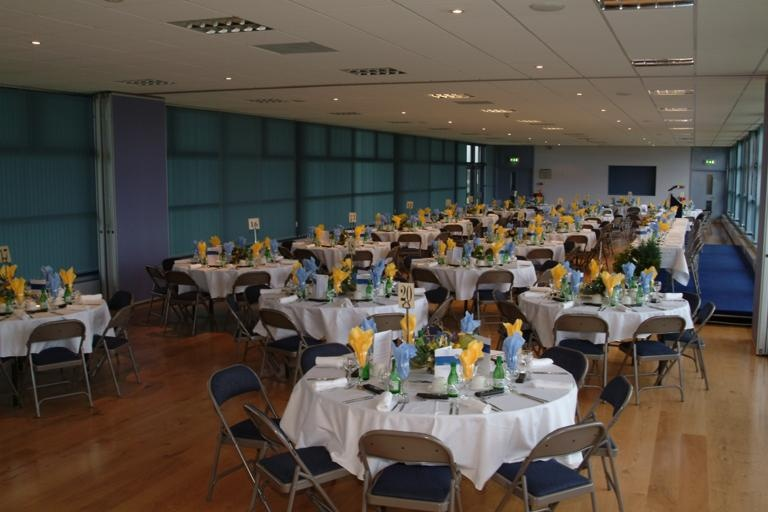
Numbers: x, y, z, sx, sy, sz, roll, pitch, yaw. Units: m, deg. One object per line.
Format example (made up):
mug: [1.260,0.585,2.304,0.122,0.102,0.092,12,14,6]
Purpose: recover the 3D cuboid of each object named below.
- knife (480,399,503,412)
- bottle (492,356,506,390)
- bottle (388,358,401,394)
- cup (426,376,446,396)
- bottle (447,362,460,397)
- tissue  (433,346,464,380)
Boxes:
knife: [0.879,1.207,4.077,0.050,0.021,0.196,-40,9,-11]
bottle: [1.031,1.005,4.485,0.111,0.254,0.356,-1,5,13]
bottle: [0.087,1.019,4.347,0.106,0.273,0.259,-3,6,2]
cup: [0.447,1.100,4.270,0.141,0.076,0.143,1,5,0]
bottle: [0.574,1.029,4.255,0.096,0.272,0.135,-2,6,6]
tissue : [0.557,0.924,4.332,0.276,0.258,0.158,1,6,14]
